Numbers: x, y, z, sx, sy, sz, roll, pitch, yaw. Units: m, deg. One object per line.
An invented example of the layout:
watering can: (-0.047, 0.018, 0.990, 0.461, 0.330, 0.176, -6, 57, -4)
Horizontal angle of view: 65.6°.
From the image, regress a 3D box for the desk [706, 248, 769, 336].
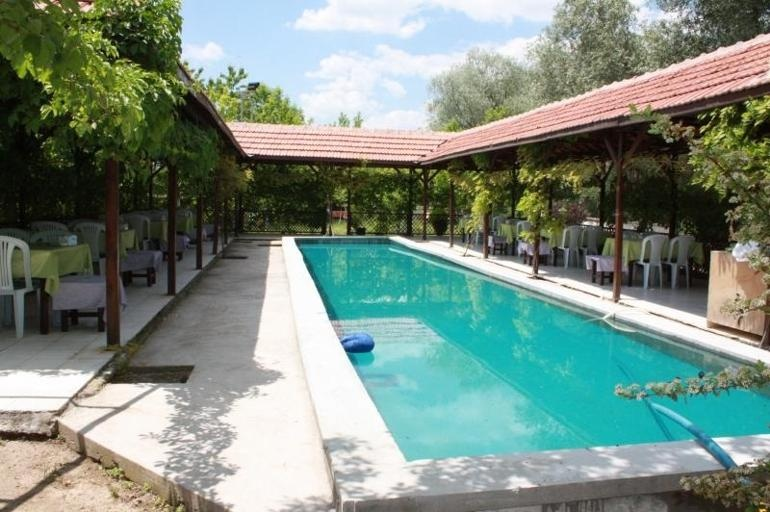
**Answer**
desk: (4.838, 0.506, 8.246, 0.345, 1.146, 0.834, -1, 4, -17)

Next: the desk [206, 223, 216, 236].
desk: (-5.897, -0.905, 20.067, 0.267, 0.381, 1.524, -1, 3, -15)

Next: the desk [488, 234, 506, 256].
desk: (3.222, -0.356, 17.328, 0.578, 0.606, 0.600, -3, 7, -11)
